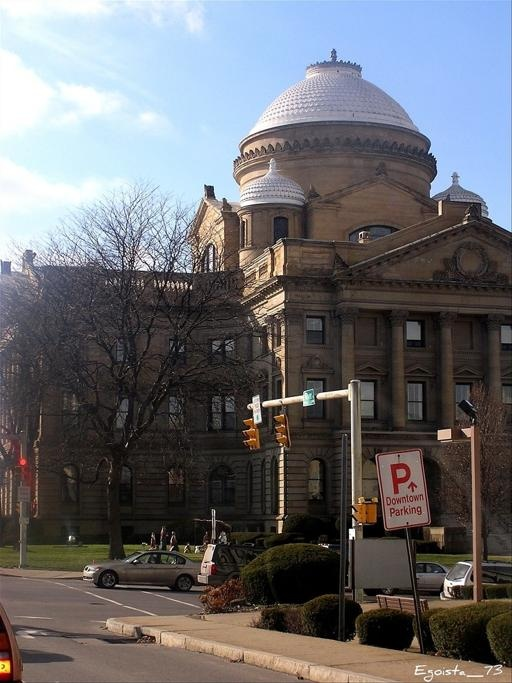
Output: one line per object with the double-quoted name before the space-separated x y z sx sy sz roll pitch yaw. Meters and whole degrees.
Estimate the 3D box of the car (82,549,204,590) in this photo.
"car" -3.549 7.027 44.087 3.388 1.064 1.435 6 -9 -12

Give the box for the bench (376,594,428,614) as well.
"bench" 2.657 4.825 26.368 0.882 0.310 2.653 -1 -10 5
